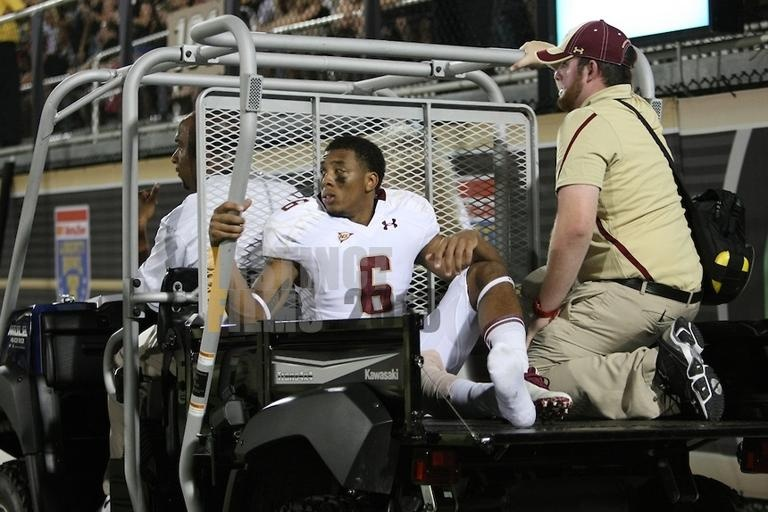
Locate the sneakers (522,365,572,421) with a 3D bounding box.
[{"bbox_3d":[0.884,0.737,5.911,0.387,0.196,0.141,7,13,-2],"label":"sneakers"}]

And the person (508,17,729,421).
[{"bbox_3d":[1.388,-0.270,6.313,1.090,2.456,0.826,-3,-2,7],"label":"person"}]

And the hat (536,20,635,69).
[{"bbox_3d":[1.294,-1.351,6.695,0.697,0.316,0.455,1,3,14],"label":"hat"}]

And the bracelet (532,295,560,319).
[{"bbox_3d":[0.982,0.315,6.318,0.137,0.086,0.104,9,-1,12],"label":"bracelet"}]
